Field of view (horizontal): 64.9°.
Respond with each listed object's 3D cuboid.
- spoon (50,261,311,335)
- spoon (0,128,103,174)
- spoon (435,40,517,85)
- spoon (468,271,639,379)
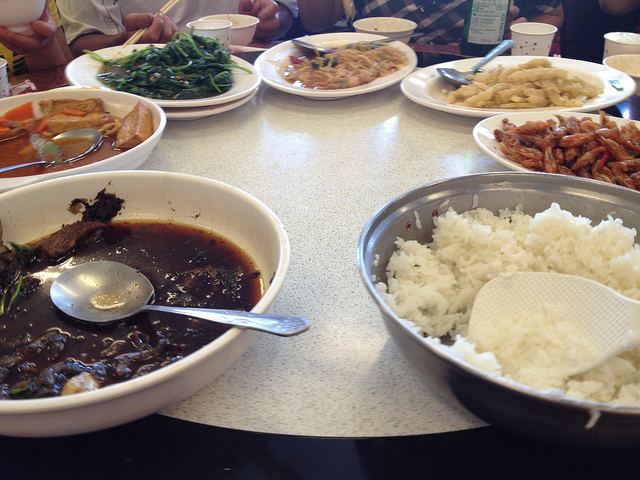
[{"bbox_3d":[-0.332,0.142,1.025,0.611,0.056,0.170,6,29,6],"label":"spoon"},{"bbox_3d":[-0.802,-0.266,1.526,0.180,0.024,0.300,14,43,19],"label":"spoon"},{"bbox_3d":[0.739,-0.772,2.215,0.576,0.075,0.170,-28,46,-34],"label":"spoon"},{"bbox_3d":[0.448,0.151,0.987,0.249,0.091,0.256,-22,44,-20],"label":"spoon"}]
